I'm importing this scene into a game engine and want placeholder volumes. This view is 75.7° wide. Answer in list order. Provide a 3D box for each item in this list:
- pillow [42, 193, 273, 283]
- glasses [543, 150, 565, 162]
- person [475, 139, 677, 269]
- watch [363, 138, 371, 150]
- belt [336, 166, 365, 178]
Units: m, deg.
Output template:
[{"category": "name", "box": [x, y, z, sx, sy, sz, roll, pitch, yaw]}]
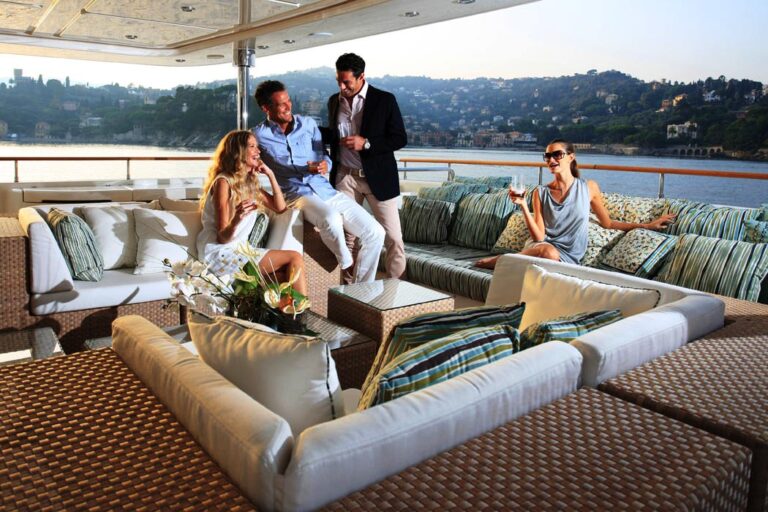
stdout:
[{"category": "pillow", "box": [-1.718, -0.128, 3.462, 0.993, 0.684, 0.281, -7, -24, -27]}, {"category": "glasses", "box": [1.187, -0.706, 3.430, 0.142, 0.075, 0.047, 6, 16, 15]}, {"category": "person", "box": [1.380, -0.371, 3.501, 1.486, 0.884, 0.730, -5, 11, -36]}, {"category": "watch", "box": [-0.123, -0.874, 3.795, 0.019, 0.067, 0.069, -8, 23, 24]}, {"category": "belt", "box": [-0.264, -0.686, 3.985, 0.134, 0.030, 0.134, 5, -1, -36]}]
